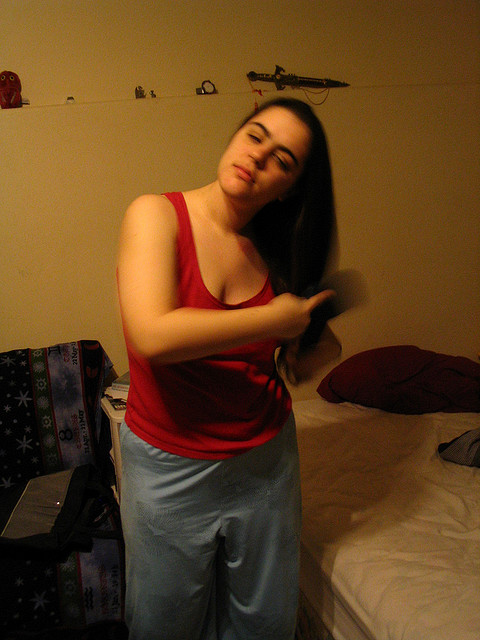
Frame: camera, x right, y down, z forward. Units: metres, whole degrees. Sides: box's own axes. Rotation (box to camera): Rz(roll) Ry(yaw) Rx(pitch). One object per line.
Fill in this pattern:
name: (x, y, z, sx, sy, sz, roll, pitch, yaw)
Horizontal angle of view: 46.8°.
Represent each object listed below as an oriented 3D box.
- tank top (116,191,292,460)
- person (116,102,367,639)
tank top: (-0.042, 0.013, 0.925, 0.320, 0.446, 0.264, -8, 13, -17)
person: (0.017, 0.160, 0.990, 0.495, 1.027, 0.256, -13, 15, -35)
